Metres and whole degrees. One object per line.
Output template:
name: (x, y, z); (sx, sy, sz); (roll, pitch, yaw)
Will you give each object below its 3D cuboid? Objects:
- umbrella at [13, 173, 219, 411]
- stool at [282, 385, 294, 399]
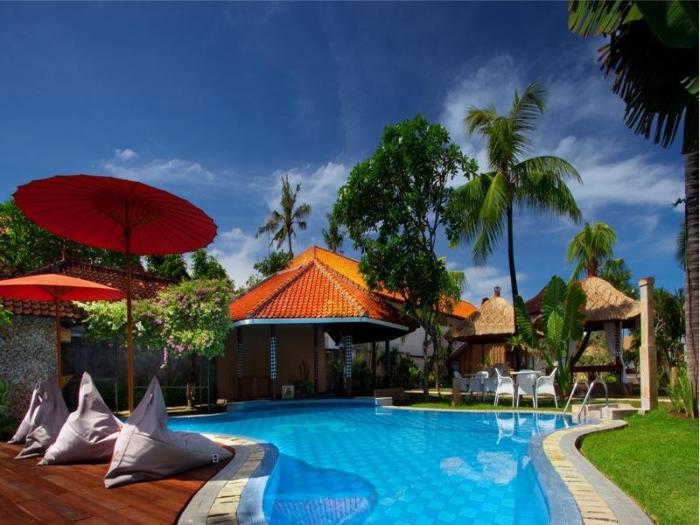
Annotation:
umbrella: (-4.119, 1.153, 9.978); (3.235, 4.578, 3.436); (-17, -14, 42)
stool: (-2.490, 5.278, 21.799); (0.575, 0.717, 0.472); (0, -17, -4)
